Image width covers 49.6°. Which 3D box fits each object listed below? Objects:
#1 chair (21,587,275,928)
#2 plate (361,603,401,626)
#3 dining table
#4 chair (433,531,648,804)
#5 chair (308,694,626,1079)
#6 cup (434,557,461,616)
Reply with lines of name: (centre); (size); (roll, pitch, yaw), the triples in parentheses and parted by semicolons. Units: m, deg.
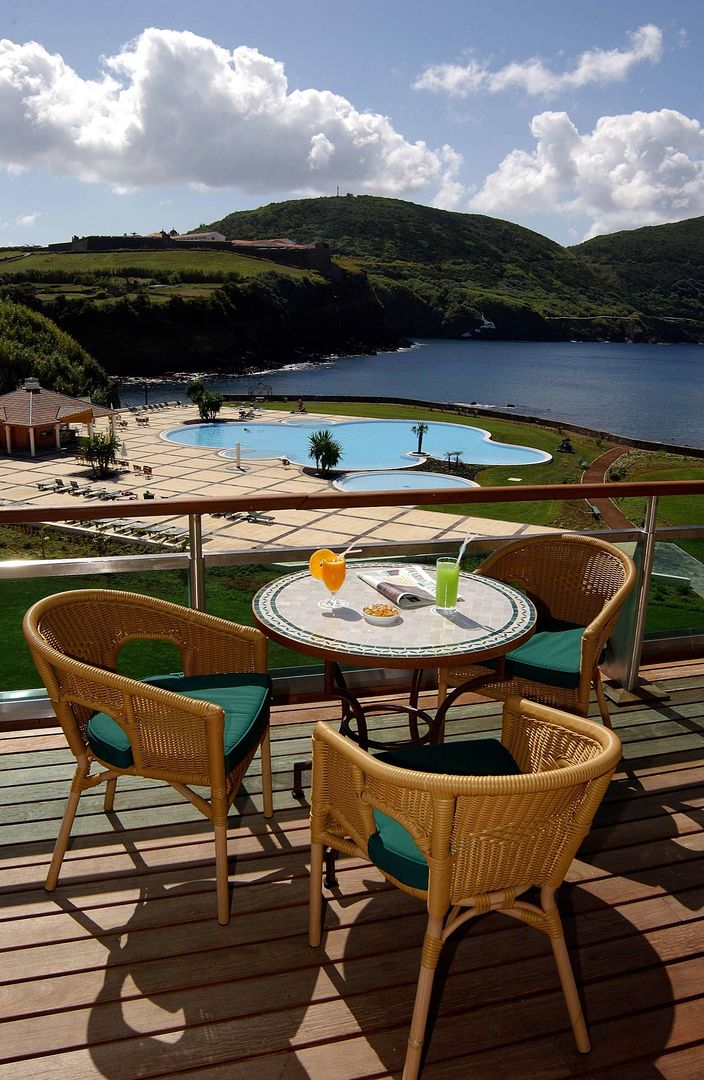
chair: (-0.540, 0.535, 2.139); (0.677, 0.719, 0.681); (-3, 12, -18)
plate: (0.083, 0.197, 2.072); (0.103, 0.038, 0.118); (6, 14, 16)
dining table: (0.139, 0.542, 2.214); (0.789, 0.584, 0.786); (1, 19, -2)
chair: (0.714, 0.391, 2.806); (0.552, 0.731, 0.612); (7, 17, 41)
chair: (0.219, 0.675, 1.655); (0.548, 0.688, 0.583); (-3, 14, -18)
cup: (0.271, 0.122, 2.171); (0.066, 0.147, 0.130); (3, 14, 7)
